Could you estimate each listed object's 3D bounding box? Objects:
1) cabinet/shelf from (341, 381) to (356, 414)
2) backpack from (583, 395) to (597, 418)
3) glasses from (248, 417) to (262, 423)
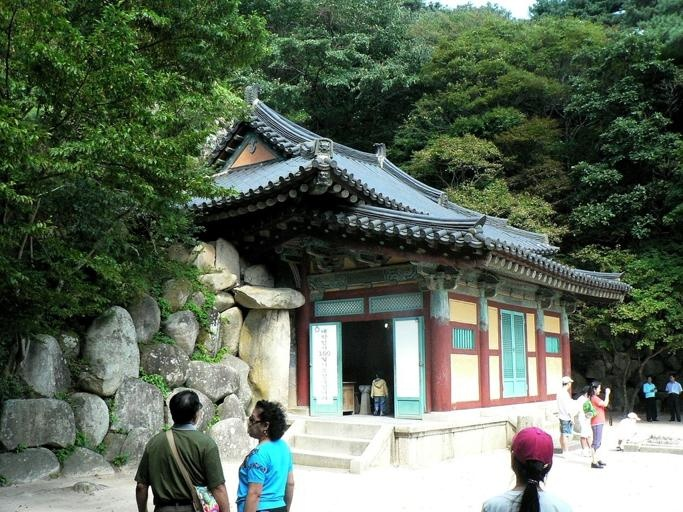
[{"bbox_3d":[0.103,3.607,19.045,0.524,0.708,0.557,3,-12,-22],"label":"cabinet/shelf"},{"bbox_3d":[5.181,3.180,15.635,0.213,0.347,0.103,-8,0,41],"label":"backpack"},{"bbox_3d":[-1.086,2.089,9.558,0.108,0.045,0.112,6,-6,-12],"label":"glasses"}]
